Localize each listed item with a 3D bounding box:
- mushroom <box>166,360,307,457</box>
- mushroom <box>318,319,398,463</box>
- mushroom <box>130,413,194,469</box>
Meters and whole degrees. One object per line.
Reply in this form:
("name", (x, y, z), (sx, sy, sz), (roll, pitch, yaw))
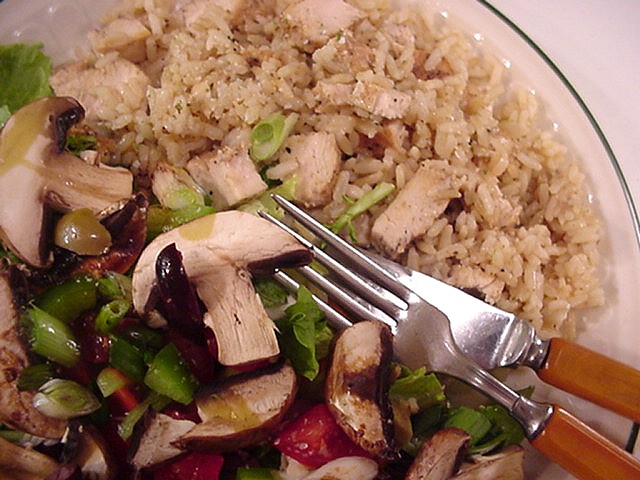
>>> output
("mushroom", (-0.214, 0.464, 1.829), (0.327, 0.129, 0.196), (-28, 35, -5))
("mushroom", (0.113, 0.394, 1.921), (0.104, 0.455, 0.241), (-20, 43, -32))
("mushroom", (-0.441, 0.579, 1.832), (0.143, 0.207, 0.069), (16, 25, -11))
